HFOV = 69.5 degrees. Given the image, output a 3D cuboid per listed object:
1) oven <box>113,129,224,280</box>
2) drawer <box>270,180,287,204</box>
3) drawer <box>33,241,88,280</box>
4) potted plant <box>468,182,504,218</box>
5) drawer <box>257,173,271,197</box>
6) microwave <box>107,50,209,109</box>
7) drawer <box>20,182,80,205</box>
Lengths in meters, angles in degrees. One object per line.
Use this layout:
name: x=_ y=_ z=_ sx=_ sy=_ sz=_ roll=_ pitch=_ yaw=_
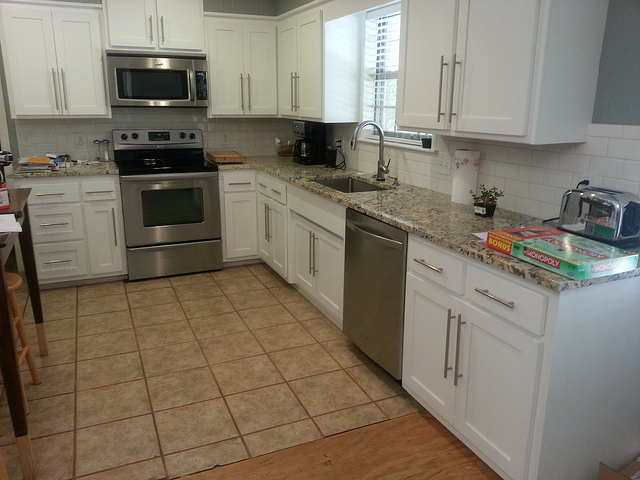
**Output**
oven: x=-1.557 y=-0.377 z=4.953 sx=1.321 sy=1.534 sz=1.008 roll=-6 pitch=16 yaw=-21
drawer: x=-0.368 y=-0.426 z=4.104 sx=0.175 sy=0.171 sz=0.284 roll=-4 pitch=17 yaw=-26
drawer: x=-2.325 y=0.183 z=4.139 sx=0.370 sy=0.280 sz=0.400 roll=-6 pitch=5 yaw=-24
potted plant: x=1.014 y=-0.239 z=2.813 sx=0.152 sy=0.174 sz=0.177 roll=-10 pitch=22 yaw=-15
drawer: x=-0.534 y=-0.526 z=4.420 sx=0.136 sy=0.139 sz=0.220 roll=-4 pitch=18 yaw=-23
microwave: x=-1.563 y=-1.569 z=4.514 sx=0.930 sy=0.468 sz=0.451 roll=-6 pitch=35 yaw=-21
drawer: x=-2.302 y=-0.398 z=4.014 sx=0.314 sy=0.140 sz=0.257 roll=-5 pitch=10 yaw=-27
